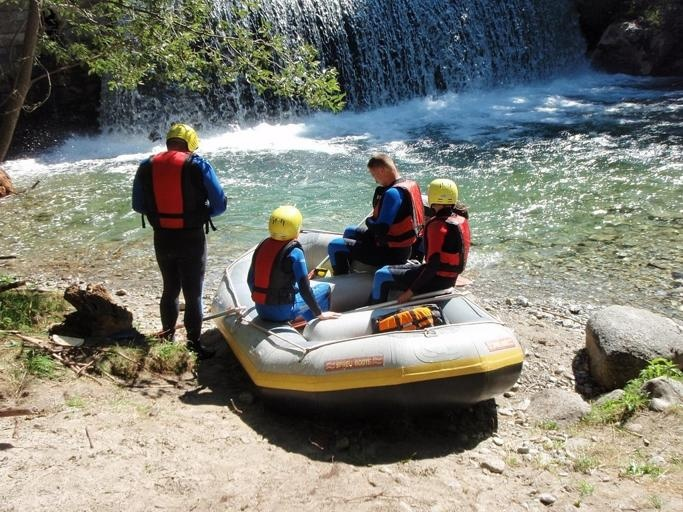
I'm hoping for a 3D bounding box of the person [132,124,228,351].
[{"bbox_3d":[-1.589,-0.098,5.851,0.927,2.454,0.409,-10,15,-8],"label":"person"}]

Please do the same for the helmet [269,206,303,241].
[{"bbox_3d":[-0.565,-0.318,5.589,0.411,0.315,0.422,8,0,3],"label":"helmet"}]

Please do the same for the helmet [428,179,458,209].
[{"bbox_3d":[1.129,-0.673,5.921,0.310,0.260,0.323,2,24,1],"label":"helmet"}]

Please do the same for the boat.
[{"bbox_3d":[0.383,1.016,6.684,2.792,0.756,3.130,-4,7,-14],"label":"boat"}]
